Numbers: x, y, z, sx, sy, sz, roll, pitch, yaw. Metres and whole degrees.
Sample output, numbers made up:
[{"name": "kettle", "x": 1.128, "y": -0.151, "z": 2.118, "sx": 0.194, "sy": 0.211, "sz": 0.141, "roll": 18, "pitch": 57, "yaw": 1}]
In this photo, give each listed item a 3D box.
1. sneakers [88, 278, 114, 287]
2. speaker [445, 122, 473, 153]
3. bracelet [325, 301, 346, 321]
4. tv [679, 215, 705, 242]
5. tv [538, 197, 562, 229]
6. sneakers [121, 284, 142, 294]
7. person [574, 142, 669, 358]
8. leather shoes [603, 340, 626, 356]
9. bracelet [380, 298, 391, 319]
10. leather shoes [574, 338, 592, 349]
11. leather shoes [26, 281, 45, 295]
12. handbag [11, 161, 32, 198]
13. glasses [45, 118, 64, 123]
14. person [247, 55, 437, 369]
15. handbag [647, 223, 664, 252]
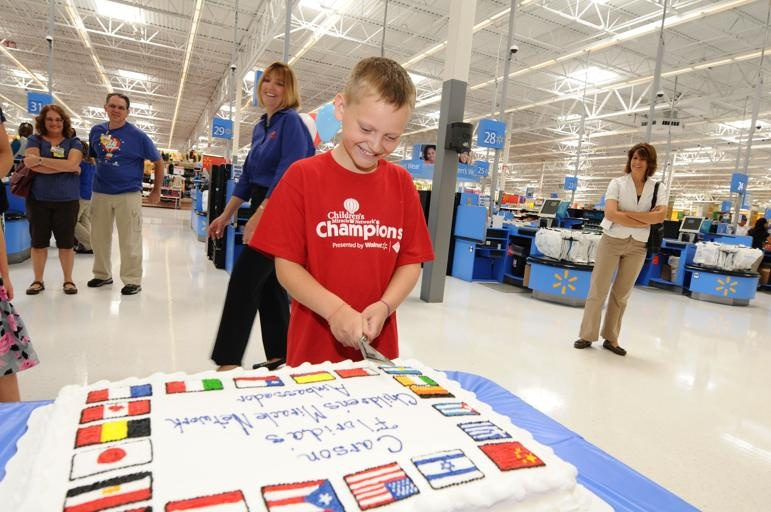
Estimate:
[{"name": "sneakers", "x": -3.122, "y": 0.288, "z": 5.243, "sx": 0.086, "sy": 0.107, "sz": 0.241, "roll": 2, "pitch": 0, "yaw": 38}, {"name": "speaker", "x": 0.868, "y": -1.417, "z": 5.784, "sx": 0.357, "sy": 0.483, "sz": 0.352, "roll": -1, "pitch": 5, "yaw": 1}, {"name": "bracelet", "x": -0.234, "y": 0.258, "z": 2.194, "sx": 0.022, "sy": 0.079, "sz": 0.083, "roll": 46, "pitch": 0, "yaw": 5}, {"name": "tv", "x": 5.725, "y": -0.524, "z": 8.952, "sx": 0.334, "sy": 0.453, "sz": 0.766, "roll": 11, "pitch": 12, "yaw": 31}, {"name": "tv", "x": 3.049, "y": -0.818, "z": 8.907, "sx": 0.346, "sy": 0.487, "sz": 0.639, "roll": 10, "pitch": 11, "yaw": 23}, {"name": "sneakers", "x": -2.699, "y": 0.346, "z": 5.063, "sx": 0.088, "sy": 0.086, "sz": 0.206, "roll": 0, "pitch": -5, "yaw": 6}, {"name": "person", "x": 2.272, "y": -0.053, "z": 4.553, "sx": 0.559, "sy": 2.014, "sz": 0.306, "roll": 10, "pitch": 11, "yaw": 24}, {"name": "leather shoes", "x": 2.250, "y": 0.901, "z": 4.740, "sx": 0.092, "sy": 0.101, "sz": 0.258, "roll": -1, "pitch": 10, "yaw": -32}, {"name": "bracelet", "x": 0.008, "y": 0.261, "z": 2.288, "sx": 0.021, "sy": 0.072, "sz": 0.075, "roll": -3, "pitch": -1, "yaw": -9}, {"name": "leather shoes", "x": 1.986, "y": 0.870, "z": 4.777, "sx": 0.182, "sy": 0.074, "sz": 0.085, "roll": 8, "pitch": -1, "yaw": -35}, {"name": "leather shoes", "x": -3.475, "y": 0.312, "z": 4.729, "sx": 0.084, "sy": 0.087, "sz": 0.210, "roll": 0, "pitch": 3, "yaw": -9}, {"name": "handbag", "x": -3.522, "y": -0.743, "z": 4.598, "sx": 0.163, "sy": 0.311, "sz": 0.338, "roll": -4, "pitch": 14, "yaw": -42}, {"name": "glasses", "x": -3.208, "y": -1.333, "z": 4.629, "sx": 0.127, "sy": 0.052, "sz": 0.045, "roll": -2, "pitch": 13, "yaw": -34}, {"name": "person", "x": -0.179, "y": -0.174, "z": 2.360, "sx": 0.828, "sy": 1.583, "sz": 0.525, "roll": 8, "pitch": 11, "yaw": 14}, {"name": "handbag", "x": 2.567, "y": -0.174, "z": 4.536, "sx": 0.112, "sy": 0.283, "sz": 0.206, "roll": 11, "pitch": 12, "yaw": 29}]
